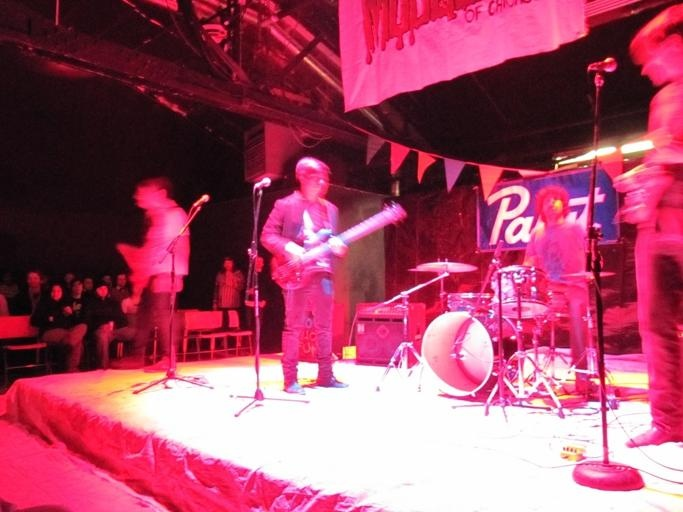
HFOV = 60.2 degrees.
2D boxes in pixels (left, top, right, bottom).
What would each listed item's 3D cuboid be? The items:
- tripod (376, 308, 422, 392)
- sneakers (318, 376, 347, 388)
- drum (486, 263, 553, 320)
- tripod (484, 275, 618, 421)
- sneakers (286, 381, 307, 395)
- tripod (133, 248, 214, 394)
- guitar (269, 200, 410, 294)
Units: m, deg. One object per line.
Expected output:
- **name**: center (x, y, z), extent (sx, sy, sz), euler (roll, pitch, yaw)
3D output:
- **tripod**: center (0.887, 1.198, 8.258), extent (0.833, 1.313, 0.855), euler (1, 1, 16)
- **sneakers**: center (-0.118, 1.436, 6.796), extent (0.379, 0.182, 0.128), euler (-1, -7, 1)
- **drum**: center (1.814, 0.338, 6.142), extent (0.563, 0.454, 0.588), euler (4, -22, 1)
- **tripod**: center (2.198, 1.005, 6.511), extent (1.368, 1.461, 1.343), euler (2, -10, -4)
- **sneakers**: center (-0.489, 1.441, 6.395), extent (0.091, 0.104, 0.245), euler (8, -17, -38)
- **tripod**: center (-2.068, 0.802, 7.220), extent (0.847, 1.650, 1.107), euler (3, -10, -20)
- **guitar**: center (0.009, -0.132, 6.800), extent (1.562, 1.081, 0.719), euler (8, -13, -42)
